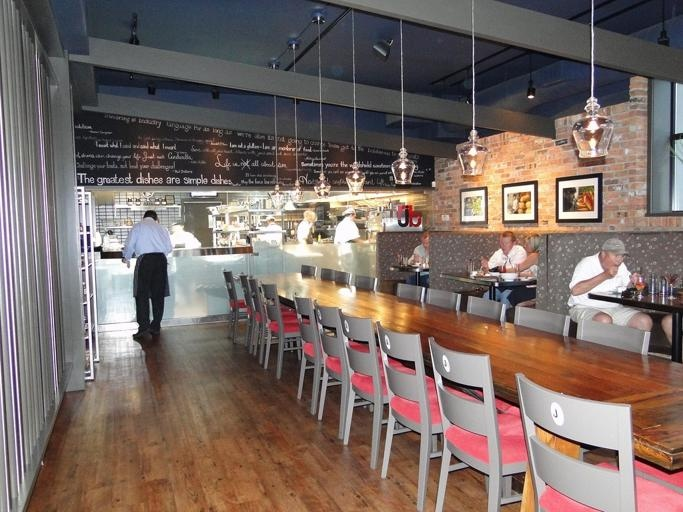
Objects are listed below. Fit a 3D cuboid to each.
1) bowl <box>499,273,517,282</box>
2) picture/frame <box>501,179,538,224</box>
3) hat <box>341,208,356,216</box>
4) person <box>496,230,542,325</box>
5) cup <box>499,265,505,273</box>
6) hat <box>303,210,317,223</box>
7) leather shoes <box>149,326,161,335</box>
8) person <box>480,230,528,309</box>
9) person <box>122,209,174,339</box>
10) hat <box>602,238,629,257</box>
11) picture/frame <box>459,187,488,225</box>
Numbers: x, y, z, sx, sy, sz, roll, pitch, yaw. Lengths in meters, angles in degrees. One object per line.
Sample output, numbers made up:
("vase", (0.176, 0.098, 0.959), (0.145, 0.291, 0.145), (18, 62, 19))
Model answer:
("bowl", (1.890, 0.245, 5.511), (0.119, 0.058, 0.122), (0, -4, 0))
("picture/frame", (2.682, -0.815, 7.253), (0.046, 0.653, 0.645), (3, 3, -29))
("hat", (0.118, -0.779, 8.653), (0.145, 0.125, 0.232), (-1, -6, 3))
("person", (2.138, 0.279, 6.369), (0.523, 1.151, 0.606), (6, 12, 31))
("cup", (1.974, 0.161, 5.949), (0.073, 0.055, 0.075), (0, 7, 0))
("hat", (-0.537, -0.672, 8.377), (0.205, 0.220, 0.165), (-7, 11, -28))
("leather shoes", (-2.534, 1.028, 6.623), (0.110, 0.133, 0.115), (2, 8, 6))
("person", (2.137, 0.286, 6.381), (0.490, 1.082, 0.528), (-9, 14, -10))
("person", (-2.537, 0.303, 6.439), (0.578, 1.579, 0.323), (-5, 8, -26))
("hat", (2.410, -0.075, 4.282), (0.136, 0.113, 0.199), (3, 2, -9))
("picture/frame", (2.223, -0.834, 8.094), (0.043, 0.692, 0.659), (2, -1, -24))
